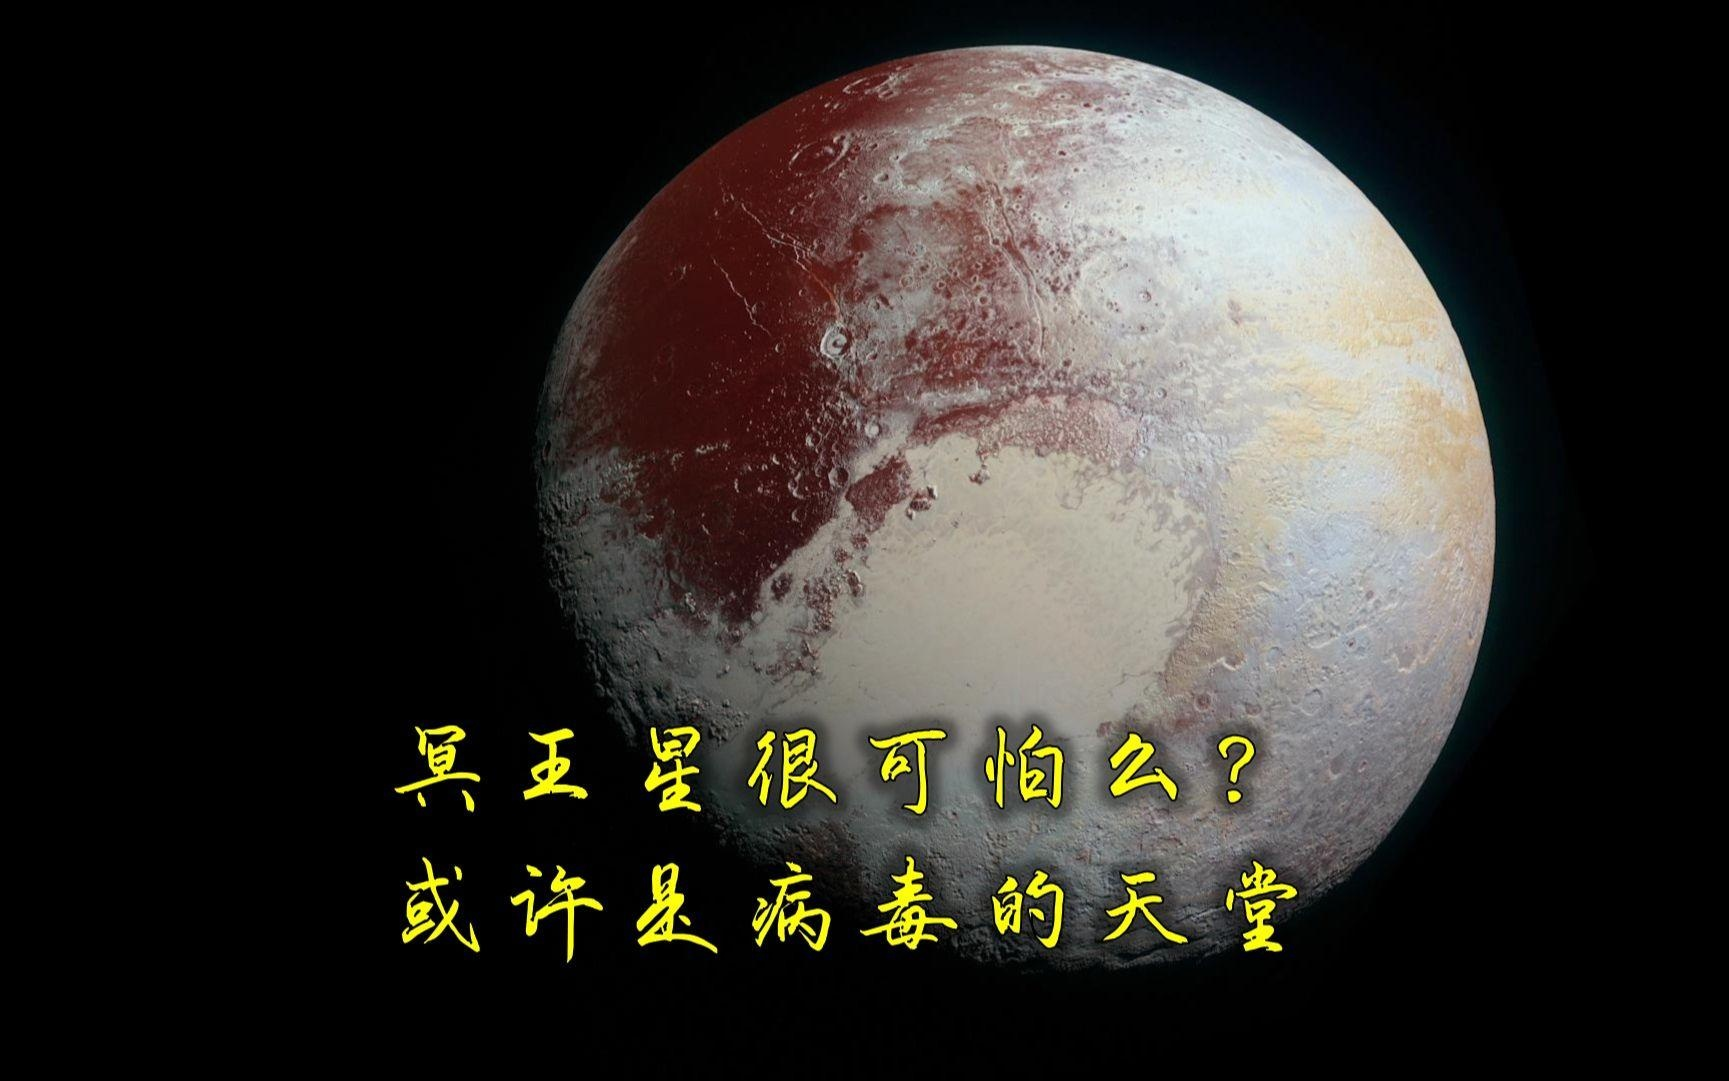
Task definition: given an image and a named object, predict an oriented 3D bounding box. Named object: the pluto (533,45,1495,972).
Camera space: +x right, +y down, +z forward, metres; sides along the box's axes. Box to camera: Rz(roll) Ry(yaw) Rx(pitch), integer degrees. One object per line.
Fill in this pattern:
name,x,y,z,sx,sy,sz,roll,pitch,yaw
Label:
pluto,0.586,-0.105,6.947,3.360,0.816,3.142,9,83,2
